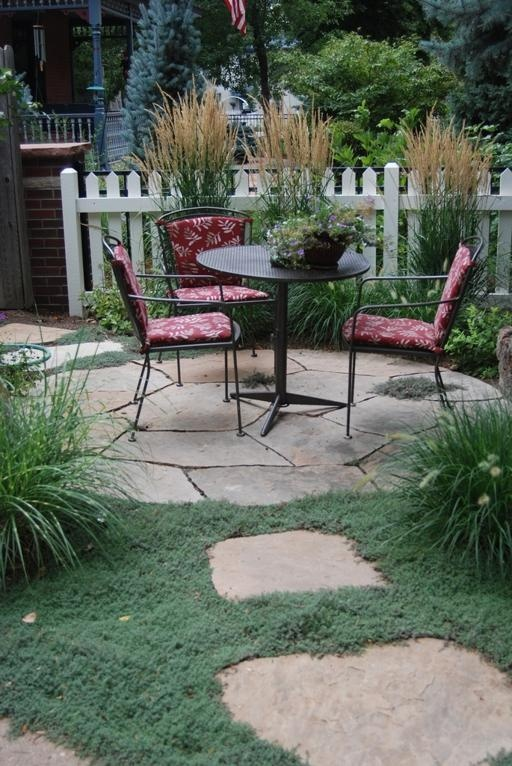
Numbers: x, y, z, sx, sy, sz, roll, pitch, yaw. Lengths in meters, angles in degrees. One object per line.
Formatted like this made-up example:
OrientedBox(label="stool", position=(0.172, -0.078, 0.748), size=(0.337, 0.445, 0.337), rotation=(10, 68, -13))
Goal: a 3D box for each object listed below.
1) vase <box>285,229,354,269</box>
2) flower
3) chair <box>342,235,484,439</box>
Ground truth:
OrientedBox(label="vase", position=(0.323, -0.684, 3.347), size=(0.209, 0.141, 0.208), rotation=(-2, 21, 0))
OrientedBox(label="flower", position=(0.372, -0.796, 3.423), size=(0.396, 0.304, 0.427), rotation=(11, 10, -8))
OrientedBox(label="chair", position=(0.833, -0.258, 3.502), size=(0.716, 0.984, 0.622), rotation=(0, 14, 8))
